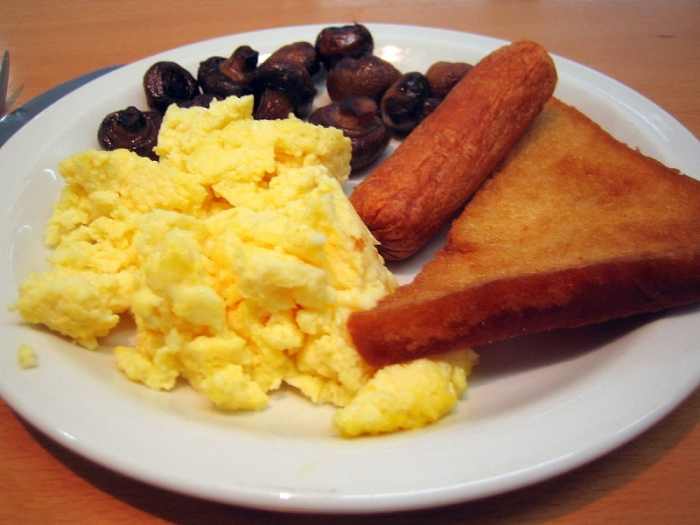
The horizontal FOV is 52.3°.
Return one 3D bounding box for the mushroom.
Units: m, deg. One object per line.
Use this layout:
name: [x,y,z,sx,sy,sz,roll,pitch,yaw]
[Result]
mushroom: [-0.135,-0.340,1.532,0.710,0.431,0.336,-1,-62,8]
